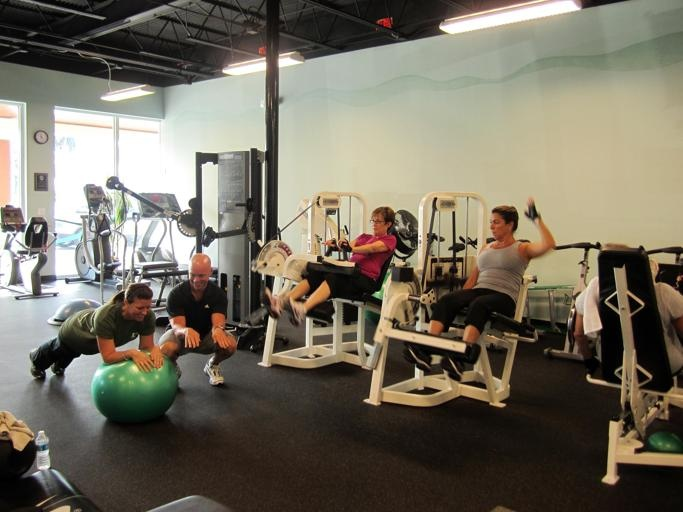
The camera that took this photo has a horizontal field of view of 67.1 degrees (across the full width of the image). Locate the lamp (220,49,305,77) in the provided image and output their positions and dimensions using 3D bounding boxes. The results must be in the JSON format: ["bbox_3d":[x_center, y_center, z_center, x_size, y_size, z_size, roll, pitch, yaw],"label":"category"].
[{"bbox_3d":[-1.167,-2.925,7.781,1.498,0.170,0.444,8,21,40],"label":"lamp"}]

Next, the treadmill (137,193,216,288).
[{"bbox_3d":[-2.757,-0.608,8.210,1.107,2.099,1.012,-4,9,-38],"label":"treadmill"}]

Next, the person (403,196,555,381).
[{"bbox_3d":[1.165,0.230,4.207,1.161,1.351,0.931,-5,7,-44],"label":"person"}]

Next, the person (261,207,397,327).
[{"bbox_3d":[-0.174,0.062,4.920,1.405,0.971,0.698,-13,7,-28],"label":"person"}]

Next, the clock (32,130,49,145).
[{"bbox_3d":[-5.525,-2.166,9.399,0.041,0.275,0.271,3,6,35],"label":"clock"}]

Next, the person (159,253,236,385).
[{"bbox_3d":[-1.228,0.513,4.439,0.551,1.163,0.514,-3,12,-45],"label":"person"}]
